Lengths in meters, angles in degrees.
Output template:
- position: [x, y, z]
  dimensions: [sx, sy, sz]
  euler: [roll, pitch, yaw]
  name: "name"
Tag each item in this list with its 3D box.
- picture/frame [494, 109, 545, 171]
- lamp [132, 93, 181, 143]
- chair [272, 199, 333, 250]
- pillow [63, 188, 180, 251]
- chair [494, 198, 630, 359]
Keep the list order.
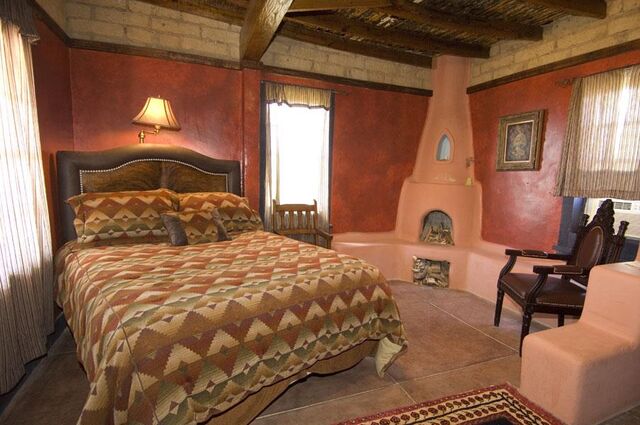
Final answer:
- position: [2.885, -1.023, 6.049]
  dimensions: [0.128, 0.814, 0.658]
  euler: [-6, 10, -30]
  name: "picture/frame"
- position: [-2.084, -1.123, 5.390]
  dimensions: [0.647, 0.728, 0.626]
  euler: [2, 19, -30]
  name: "lamp"
- position: [-0.292, 0.452, 6.133]
  dimensions: [0.776, 1.160, 0.747]
  euler: [0, 4, -10]
  name: "chair"
- position: [-2.506, 0.174, 5.278]
  dimensions: [1.123, 0.628, 0.349]
  euler: [-3, -18, -24]
  name: "pillow"
- position: [2.746, 0.781, 5.008]
  dimensions: [1.326, 1.579, 1.307]
  euler: [-3, 10, -35]
  name: "chair"
